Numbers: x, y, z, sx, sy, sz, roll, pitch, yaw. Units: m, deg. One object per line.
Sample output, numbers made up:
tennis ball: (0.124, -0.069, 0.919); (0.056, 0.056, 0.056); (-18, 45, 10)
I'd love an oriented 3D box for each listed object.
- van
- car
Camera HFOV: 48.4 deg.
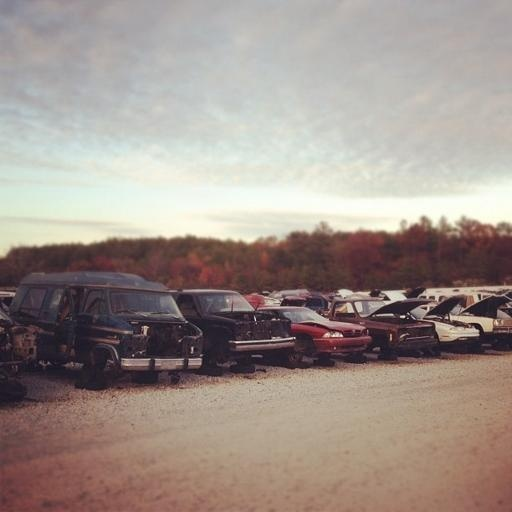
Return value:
van: (-3.012, 1.364, 11.851); (3.453, 1.519, 2.299); (-1, -3, 38)
car: (1.543, 1.858, 14.647); (6.818, 1.851, 2.243); (3, -3, -33)
